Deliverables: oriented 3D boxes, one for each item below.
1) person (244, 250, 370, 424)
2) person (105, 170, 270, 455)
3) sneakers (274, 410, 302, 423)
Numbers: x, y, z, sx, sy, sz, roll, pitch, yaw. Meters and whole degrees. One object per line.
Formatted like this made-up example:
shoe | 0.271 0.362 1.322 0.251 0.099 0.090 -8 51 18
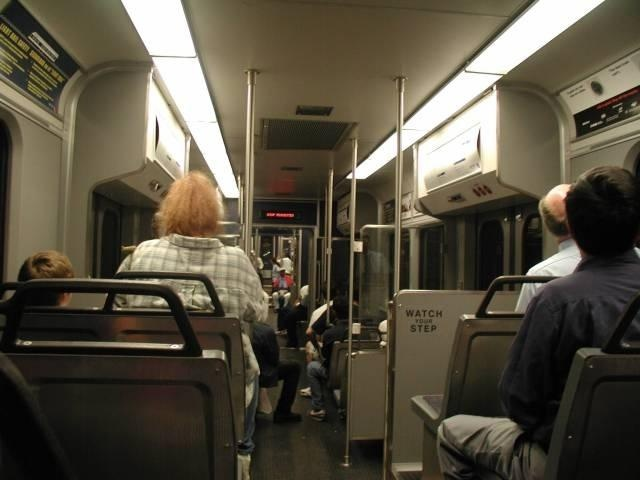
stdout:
person | -0.186 1.475 6.484 1.436 2.604 0.992 4 -5 -2
person | -0.757 0.592 3.470 0.831 1.983 1.119 4 8 14
sneakers | -0.380 2.001 5.998 0.342 0.168 0.120 0 -1 -19
